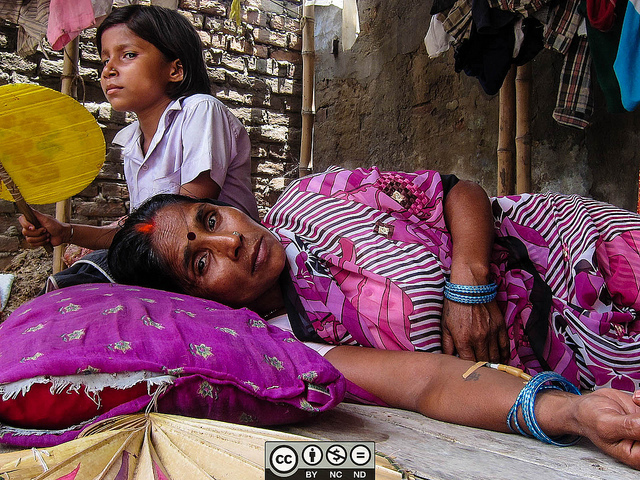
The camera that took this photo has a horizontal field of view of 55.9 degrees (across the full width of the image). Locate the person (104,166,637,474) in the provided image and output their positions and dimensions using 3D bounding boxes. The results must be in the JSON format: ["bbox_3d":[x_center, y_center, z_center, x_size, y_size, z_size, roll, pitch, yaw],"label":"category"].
[{"bbox_3d":[0.240,0.310,1.791,1.158,0.369,0.791,-8,37,4],"label":"person"}]

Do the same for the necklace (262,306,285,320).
[{"bbox_3d":[-0.143,0.215,1.820,0.049,0.018,0.036,-35,2,-2],"label":"necklace"}]

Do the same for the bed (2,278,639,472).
[{"bbox_3d":[-0.177,0.315,1.362,1.222,0.304,0.578,3,6,8],"label":"bed"}]
